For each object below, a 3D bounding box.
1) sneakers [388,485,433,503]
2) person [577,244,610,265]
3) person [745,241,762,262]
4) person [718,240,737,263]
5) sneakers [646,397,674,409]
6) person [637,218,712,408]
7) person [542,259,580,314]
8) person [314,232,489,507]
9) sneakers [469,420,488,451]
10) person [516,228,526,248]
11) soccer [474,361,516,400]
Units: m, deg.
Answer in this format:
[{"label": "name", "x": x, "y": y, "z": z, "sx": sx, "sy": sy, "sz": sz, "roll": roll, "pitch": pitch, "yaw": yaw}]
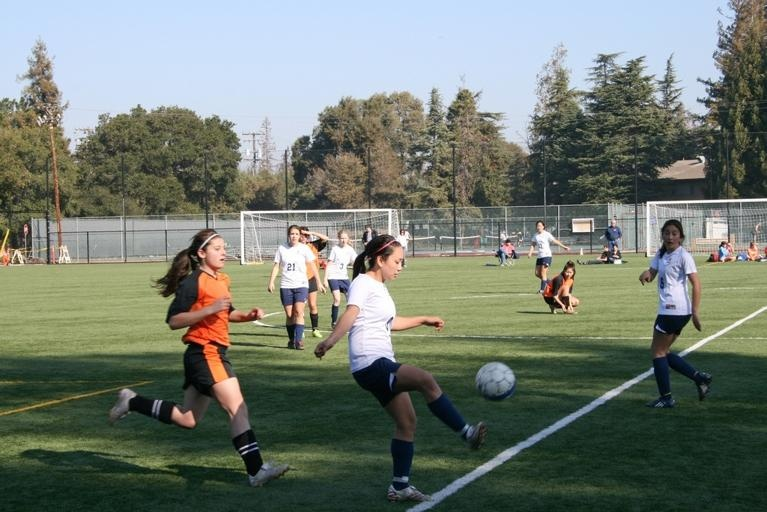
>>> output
[{"label": "sneakers", "x": 0.279, "y": 2.441, "z": 8.908, "sx": 0.453, "sy": 0.157, "sz": 0.163, "roll": 1, "pitch": -2, "yaw": 1}, {"label": "person", "x": 10.362, "y": -0.001, "z": 42.082, "sx": 1.869, "sy": 0.910, "sz": 0.811, "roll": -5, "pitch": 3, "yaw": 12}, {"label": "person", "x": 17.731, "y": -0.194, "z": 41.054, "sx": 0.662, "sy": 0.862, "sz": 1.359, "roll": -1, "pitch": 1, "yaw": 23}, {"label": "person", "x": 16.910, "y": -0.181, "z": 42.335, "sx": 0.935, "sy": 1.342, "sz": 1.075, "roll": -2, "pitch": 10, "yaw": 9}, {"label": "sneakers", "x": 3.662, "y": 1.913, "z": 11.297, "sx": 0.402, "sy": 0.149, "sz": 0.134, "roll": -2, "pitch": 0, "yaw": 4}, {"label": "person", "x": 3.959, "y": 0.735, "z": 11.499, "sx": 0.735, "sy": 2.451, "sz": 0.760, "roll": -1, "pitch": 1, "yaw": 15}, {"label": "person", "x": 4.060, "y": 0.710, "z": 19.742, "sx": 0.728, "sy": 1.176, "sz": 1.606, "roll": -1, "pitch": 1, "yaw": 12}, {"label": "person", "x": 0.068, "y": 1.153, "z": 9.058, "sx": 1.547, "sy": 2.744, "sz": 0.609, "roll": -1, "pitch": 1, "yaw": -5}, {"label": "sneakers", "x": 0.981, "y": 1.855, "z": 8.947, "sx": 0.201, "sy": 0.366, "sz": 0.134, "roll": 8, "pitch": 45, "yaw": 0}, {"label": "person", "x": 10.373, "y": -1.348, "z": 65.379, "sx": 0.573, "sy": 1.264, "sz": 1.001, "roll": 0, "pitch": 6, "yaw": -37}, {"label": "soccer", "x": 1.330, "y": 1.371, "z": 9.845, "sx": 0.466, "sy": 0.410, "sz": 0.430, "roll": 4, "pitch": 6, "yaw": 21}]
